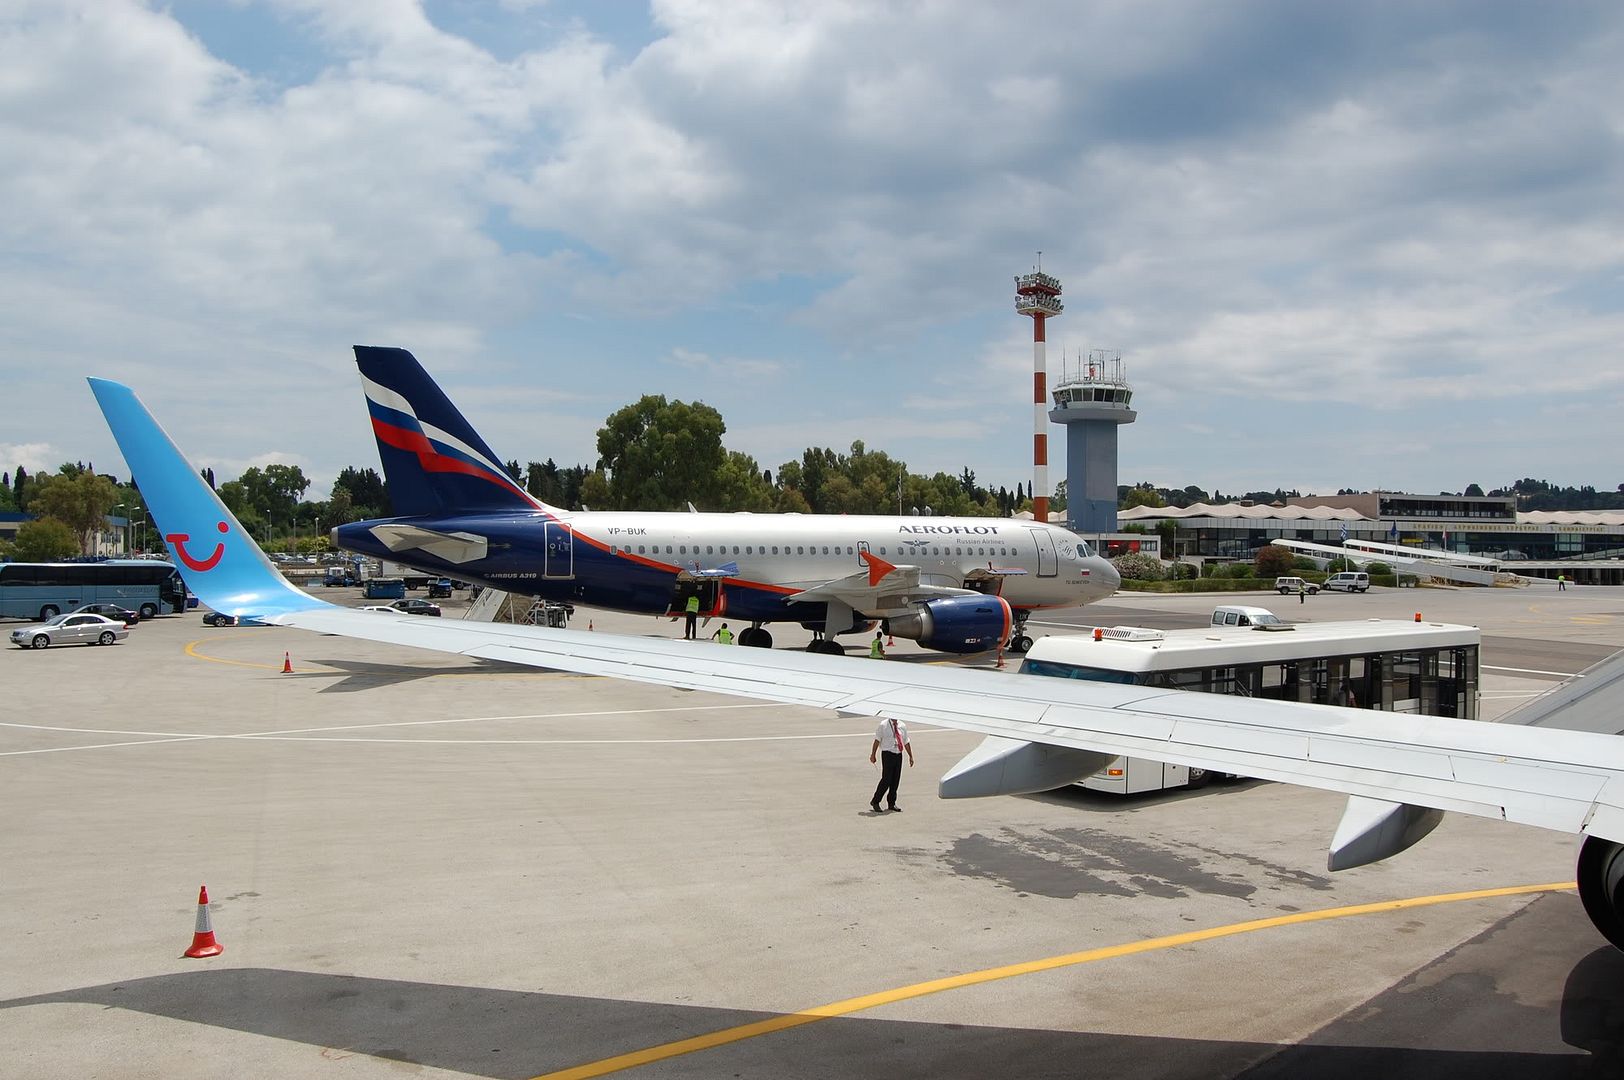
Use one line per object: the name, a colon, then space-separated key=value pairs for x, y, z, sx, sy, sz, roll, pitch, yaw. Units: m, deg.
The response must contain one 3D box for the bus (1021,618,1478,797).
bus: x=9.399 y=3.271 z=27.625 sx=12.241 sy=2.723 sz=3.538 roll=1 pitch=-1 yaw=-24
